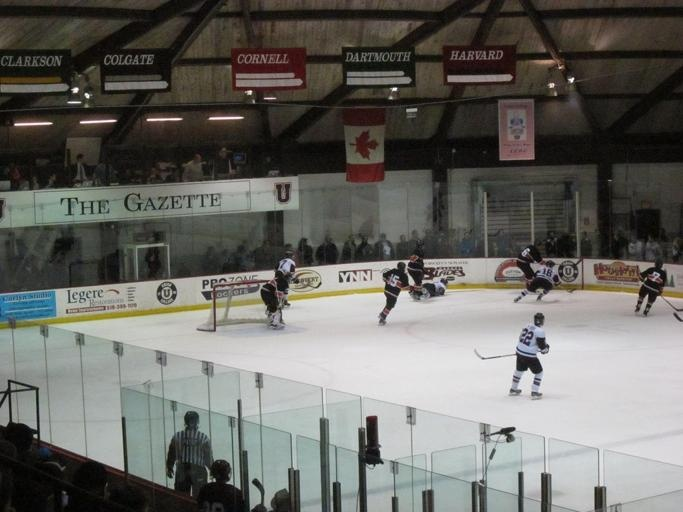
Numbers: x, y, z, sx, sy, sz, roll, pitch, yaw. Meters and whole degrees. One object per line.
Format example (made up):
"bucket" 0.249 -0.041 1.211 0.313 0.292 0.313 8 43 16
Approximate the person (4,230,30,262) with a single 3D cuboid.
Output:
"person" -8.357 -0.202 25.470 0.699 0.834 0.704 1 15 -5

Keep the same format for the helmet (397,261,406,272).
"helmet" 1.536 0.296 24.446 0.178 0.242 0.237 -7 -1 -6

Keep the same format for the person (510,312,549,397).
"person" 3.564 1.891 18.746 0.693 1.562 1.163 0 -2 11

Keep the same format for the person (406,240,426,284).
"person" 2.112 0.249 27.557 0.476 1.256 1.097 1 -2 5

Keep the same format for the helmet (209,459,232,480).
"helmet" -1.688 3.028 14.021 0.235 0.299 0.290 2 5 0

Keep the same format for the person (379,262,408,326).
"person" 1.321 0.928 24.586 0.672 1.583 2.139 1 -3 3

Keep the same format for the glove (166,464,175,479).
"glove" -2.562 3.292 14.906 0.176 0.183 0.112 1 -1 24

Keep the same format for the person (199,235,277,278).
"person" -2.761 0.049 27.361 2.148 0.973 0.212 2 -3 -26

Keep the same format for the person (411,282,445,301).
"person" 2.439 1.013 27.637 1.207 0.521 0.428 3 -4 -44

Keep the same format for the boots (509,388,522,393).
"boots" 3.260 2.547 18.456 0.213 0.109 0.079 3 0 -10

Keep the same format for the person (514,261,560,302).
"person" 5.379 0.601 26.815 0.536 0.770 1.752 -16 4 6

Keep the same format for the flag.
"flag" 0.670 -3.094 27.750 1.092 2.010 0.628 1 -2 7

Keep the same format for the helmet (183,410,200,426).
"helmet" -2.206 2.435 14.686 0.193 0.219 0.220 1 10 5

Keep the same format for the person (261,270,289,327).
"person" -1.585 1.065 23.665 0.594 1.360 0.815 1 -2 -3

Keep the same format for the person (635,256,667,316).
"person" 7.749 0.787 24.776 0.696 1.458 2.051 0 -3 17

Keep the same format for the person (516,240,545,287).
"person" 5.292 0.268 27.574 0.943 1.398 0.615 -16 26 -29

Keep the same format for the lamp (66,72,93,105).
"lamp" -6.127 -3.944 23.355 0.538 0.814 0.678 1 -2 -11
